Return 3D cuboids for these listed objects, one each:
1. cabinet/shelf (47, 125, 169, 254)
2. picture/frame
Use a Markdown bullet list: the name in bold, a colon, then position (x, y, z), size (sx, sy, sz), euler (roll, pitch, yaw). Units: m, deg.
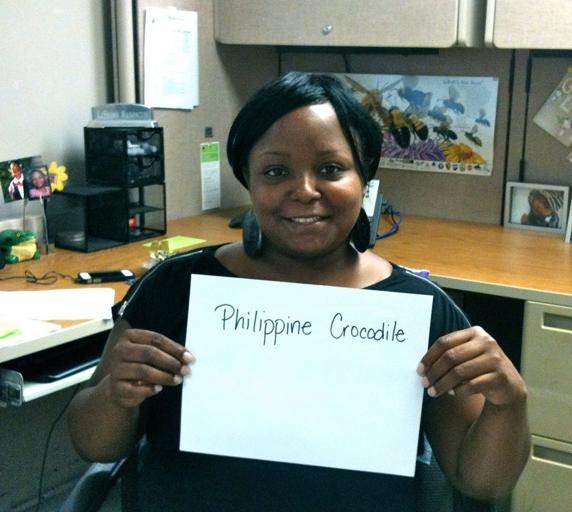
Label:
- **cabinet/shelf**: position (-0.614, -0.225, 1.773), size (0.200, 0.349, 0.382), euler (7, 16, 28)
- **picture/frame**: position (0.885, -0.168, 1.850), size (0.201, 0.155, 0.015), euler (11, 11, 40)
